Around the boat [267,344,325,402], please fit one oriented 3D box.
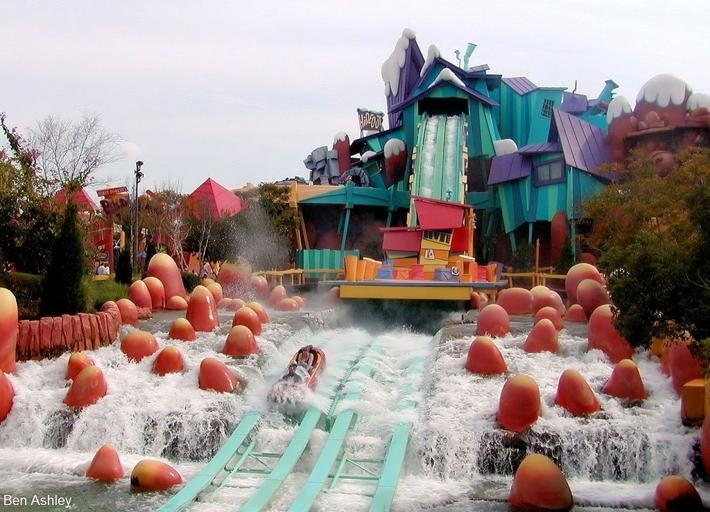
[{"bbox_3d":[-1.011,2.097,8.383,0.555,0.877,1.216,1,-6,21],"label":"boat"}]
